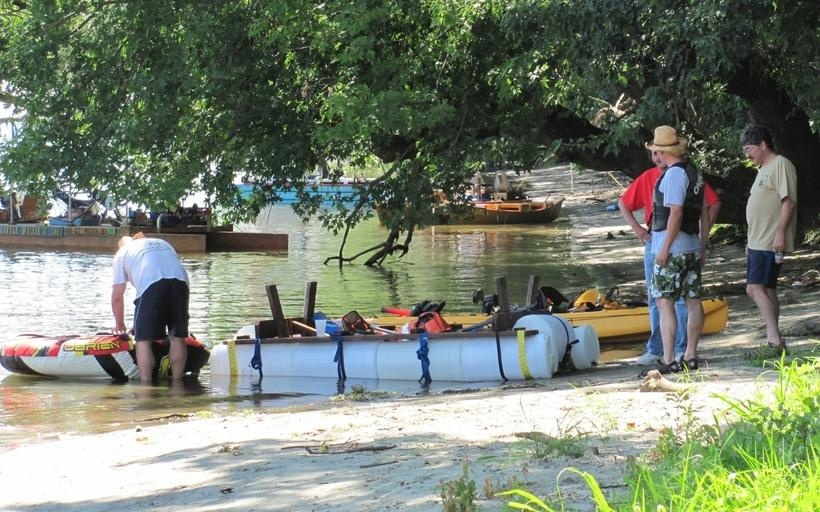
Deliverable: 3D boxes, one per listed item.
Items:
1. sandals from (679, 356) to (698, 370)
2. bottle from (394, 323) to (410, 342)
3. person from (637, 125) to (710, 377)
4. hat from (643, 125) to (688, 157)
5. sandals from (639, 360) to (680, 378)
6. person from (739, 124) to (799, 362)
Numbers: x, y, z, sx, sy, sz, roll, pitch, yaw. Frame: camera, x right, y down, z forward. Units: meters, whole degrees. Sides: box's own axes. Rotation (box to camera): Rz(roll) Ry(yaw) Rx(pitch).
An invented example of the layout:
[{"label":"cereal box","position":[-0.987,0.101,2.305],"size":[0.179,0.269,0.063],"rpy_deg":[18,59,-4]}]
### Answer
[{"label":"sandals","position":[4.404,1.712,19.213],"size":[0.287,0.196,0.591],"rpy_deg":[-2,12,16]},{"label":"bottle","position":[-0.140,1.356,21.793],"size":[0.234,0.288,0.102],"rpy_deg":[-9,-9,35]},{"label":"person","position":[4.272,-0.116,19.317],"size":[0.869,3.776,1.321],"rpy_deg":[-2,14,20]},{"label":"hat","position":[4.095,-1.855,19.528],"size":[0.508,0.208,0.553],"rpy_deg":[-21,33,-37]},{"label":"sandals","position":[3.920,1.786,19.297],"size":[0.702,0.242,0.246],"rpy_deg":[-4,-5,13]},{"label":"person","position":[5.781,-0.254,19.457],"size":[0.829,3.620,0.943],"rpy_deg":[-3,13,15]}]
